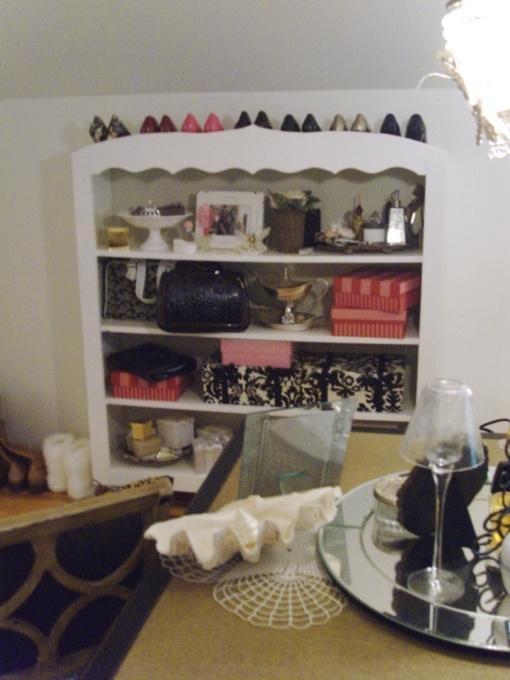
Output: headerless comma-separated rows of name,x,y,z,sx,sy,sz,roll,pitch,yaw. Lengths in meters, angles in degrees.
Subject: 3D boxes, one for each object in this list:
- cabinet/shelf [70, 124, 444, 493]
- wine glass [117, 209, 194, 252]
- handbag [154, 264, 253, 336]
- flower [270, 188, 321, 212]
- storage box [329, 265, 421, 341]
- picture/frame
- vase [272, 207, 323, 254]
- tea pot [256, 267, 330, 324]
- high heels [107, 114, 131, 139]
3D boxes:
cabinet/shelf,0.017,-0.165,2.054,1.490,1.416,0.388,2,28,3
wine glass,-0.373,-0.407,2.302,0.225,0.116,0.209,1,12,-4
handbag,-0.183,-0.138,2.150,0.384,0.267,0.213,1,23,-1
flower,0.147,-0.488,2.119,0.147,0.046,0.104,1,21,-3
storage box,0.424,-0.128,2.153,0.284,0.232,0.262,2,8,21
picture/frame,-0.085,-0.425,2.238,0.252,0.207,0.090,1,2,11
vase,0.124,-0.400,2.224,0.195,0.139,0.172,5,12,27
tea pot,0.153,-0.160,2.362,0.255,0.171,0.248,-3,20,1
high heels,-0.486,-0.746,2.165,0.057,0.080,0.091,-5,9,-30
